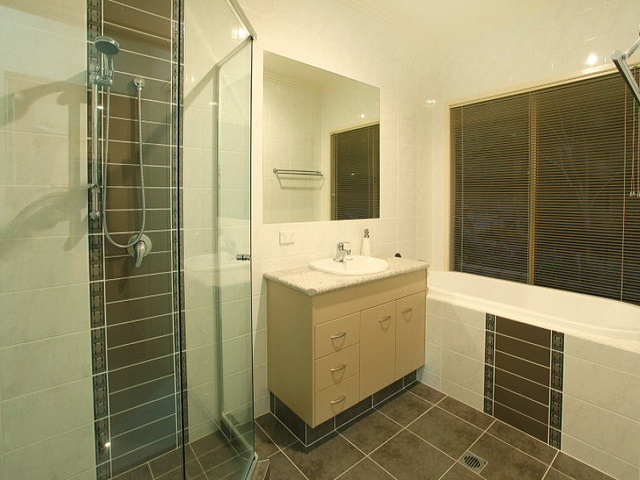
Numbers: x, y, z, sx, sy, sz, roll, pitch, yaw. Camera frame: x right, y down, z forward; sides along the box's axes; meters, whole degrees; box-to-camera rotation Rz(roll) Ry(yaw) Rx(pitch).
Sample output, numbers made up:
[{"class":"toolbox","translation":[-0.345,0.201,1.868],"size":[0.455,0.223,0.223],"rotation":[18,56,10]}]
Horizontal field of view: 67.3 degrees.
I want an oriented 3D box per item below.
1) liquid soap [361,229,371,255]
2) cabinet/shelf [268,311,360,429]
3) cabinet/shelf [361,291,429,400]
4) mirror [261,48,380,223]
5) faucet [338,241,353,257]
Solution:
[{"class":"liquid soap","translation":[0.368,0.004,3.856],"size":[0.076,0.197,0.252],"rotation":[-2,7,6]},{"class":"cabinet/shelf","translation":[-0.022,0.722,3.218],"size":[0.351,0.634,0.479],"rotation":[-14,25,-37]},{"class":"cabinet/shelf","translation":[0.665,0.781,3.542],"size":[0.320,0.601,0.643],"rotation":[17,-28,-23]},{"class":"mirror","translation":[-0.028,-0.790,3.563],"size":[1.266,1.407,0.047],"rotation":[-1,3,-41]},{"class":"faucet","translation":[0.199,0.074,3.689],"size":[0.112,0.155,0.092],"rotation":[1,0,43]}]
